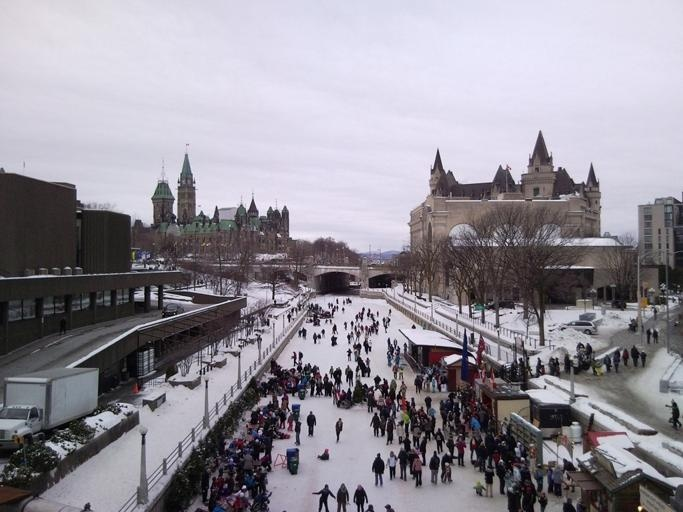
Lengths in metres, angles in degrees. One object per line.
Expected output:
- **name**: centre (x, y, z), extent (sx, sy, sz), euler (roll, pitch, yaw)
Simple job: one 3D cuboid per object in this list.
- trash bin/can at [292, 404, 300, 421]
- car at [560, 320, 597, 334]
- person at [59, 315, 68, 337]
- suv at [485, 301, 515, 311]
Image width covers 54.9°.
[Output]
- **trash bin/can**: centre (-2.665, 9.392, 39.067), extent (0.600, 0.985, 0.522), euler (4, 2, 42)
- **car**: centre (20.415, 6.199, 56.295), extent (2.801, 1.205, 1.394), euler (6, -1, 24)
- **person**: centre (-19.517, 4.892, 46.177), extent (0.482, 1.139, 1.437), euler (0, 2, -24)
- **suv**: centre (18.784, 5.951, 77.229), extent (2.463, 0.827, 1.749), euler (-2, 2, -10)
